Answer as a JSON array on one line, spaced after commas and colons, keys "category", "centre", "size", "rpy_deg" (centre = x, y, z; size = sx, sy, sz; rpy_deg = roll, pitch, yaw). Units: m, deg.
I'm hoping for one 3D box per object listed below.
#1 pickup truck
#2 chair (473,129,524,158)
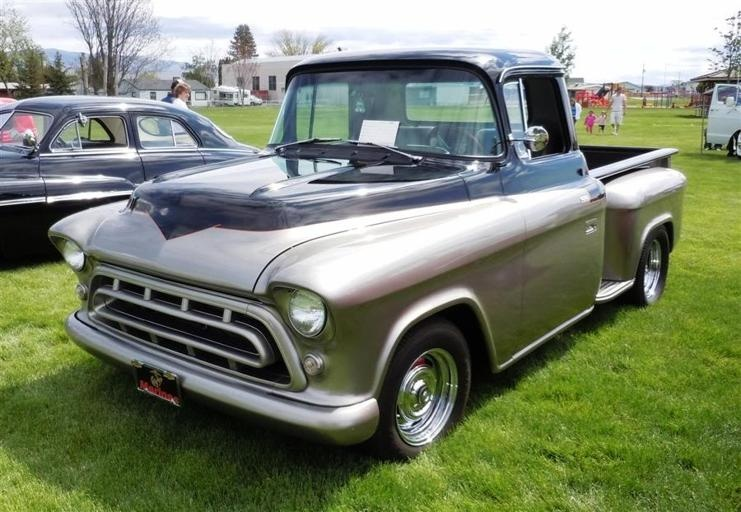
[{"category": "pickup truck", "centre": [0.550, -0.194, 4.503], "size": [2.594, 1.985, 4.617], "rpy_deg": [9, 15, 43]}, {"category": "chair", "centre": [0.956, -0.849, 3.939], "size": [0.295, 0.236, 0.122], "rpy_deg": [3, -4, -13]}]
